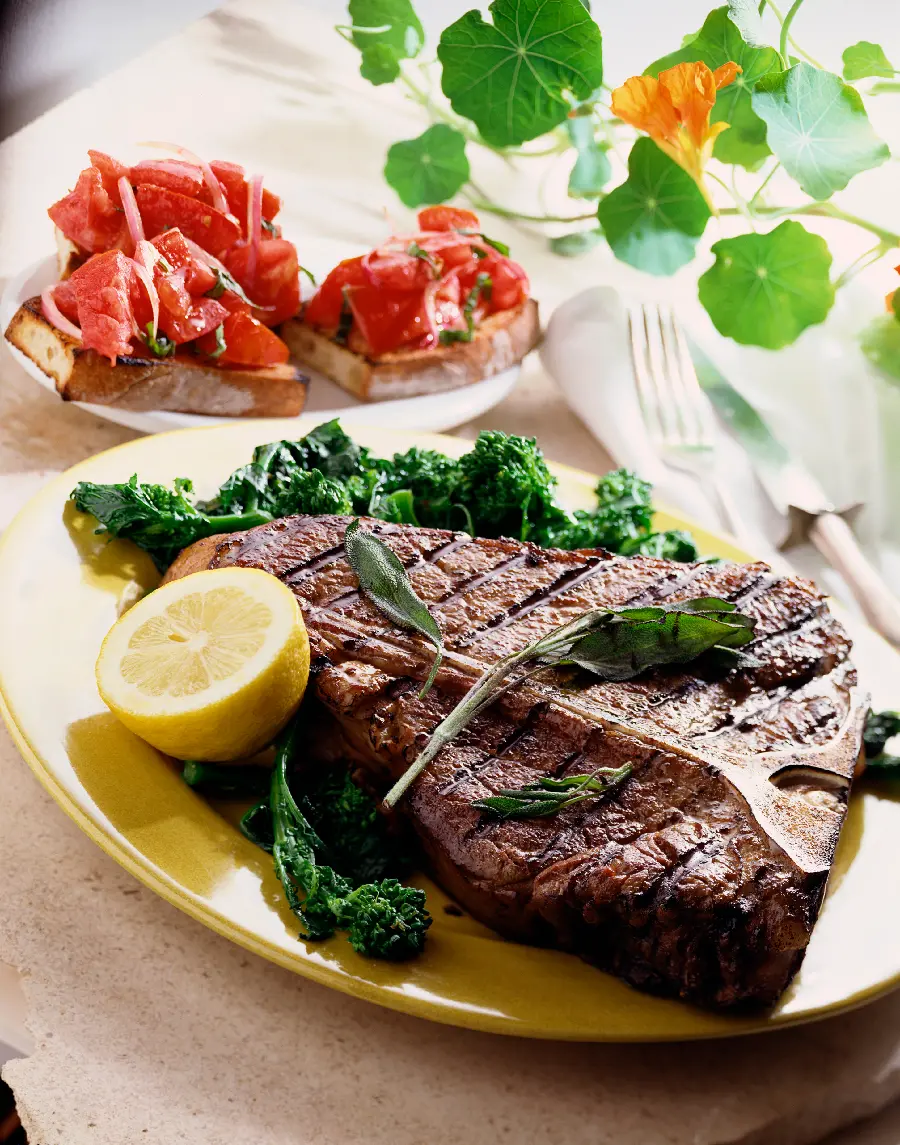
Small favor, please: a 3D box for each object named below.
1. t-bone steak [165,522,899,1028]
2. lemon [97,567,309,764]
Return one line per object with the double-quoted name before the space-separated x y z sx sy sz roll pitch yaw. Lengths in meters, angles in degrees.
"t-bone steak" 0.037 0.228 1.694 1.094 0.209 0.645 23 38 15
"lemon" -0.345 0.126 1.608 0.303 0.173 0.255 -16 44 -3
